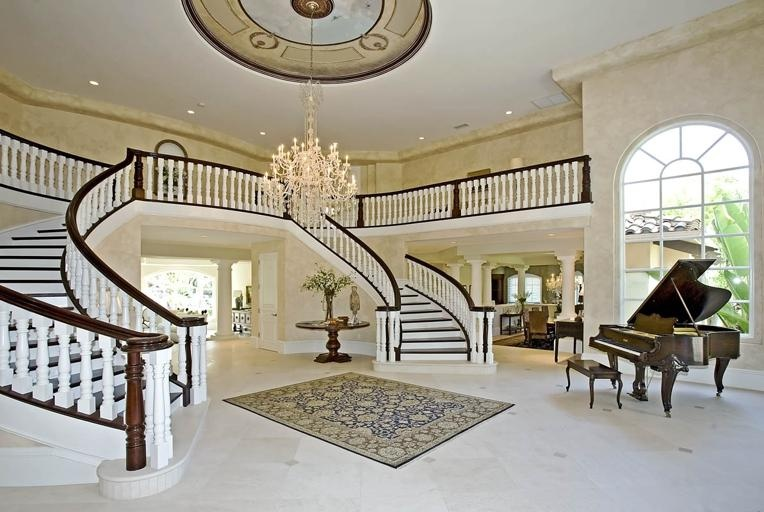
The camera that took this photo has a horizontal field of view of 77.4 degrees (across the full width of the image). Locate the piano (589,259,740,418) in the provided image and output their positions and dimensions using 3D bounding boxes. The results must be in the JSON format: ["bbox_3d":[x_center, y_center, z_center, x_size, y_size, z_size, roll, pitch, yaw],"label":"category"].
[{"bbox_3d":[5.029,1.369,8.753,2.738,2.439,2.162,2,0,-39],"label":"piano"}]

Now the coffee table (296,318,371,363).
[{"bbox_3d":[-1.204,2.161,11.815,1.926,0.840,1.840,-3,-6,24],"label":"coffee table"}]

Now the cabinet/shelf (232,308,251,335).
[{"bbox_3d":[-5.124,2.469,17.510,0.379,0.611,1.114,2,-2,-39],"label":"cabinet/shelf"}]

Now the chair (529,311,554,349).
[{"bbox_3d":[4.750,2.204,14.240,0.743,1.075,0.802,-1,-2,22],"label":"chair"}]

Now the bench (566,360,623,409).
[{"bbox_3d":[4.035,2.335,8.660,0.849,0.688,1.002,3,-2,-6],"label":"bench"}]

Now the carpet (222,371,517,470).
[{"bbox_3d":[-0.240,2.678,8.569,3.905,0.024,3.311,2,2,44],"label":"carpet"}]
